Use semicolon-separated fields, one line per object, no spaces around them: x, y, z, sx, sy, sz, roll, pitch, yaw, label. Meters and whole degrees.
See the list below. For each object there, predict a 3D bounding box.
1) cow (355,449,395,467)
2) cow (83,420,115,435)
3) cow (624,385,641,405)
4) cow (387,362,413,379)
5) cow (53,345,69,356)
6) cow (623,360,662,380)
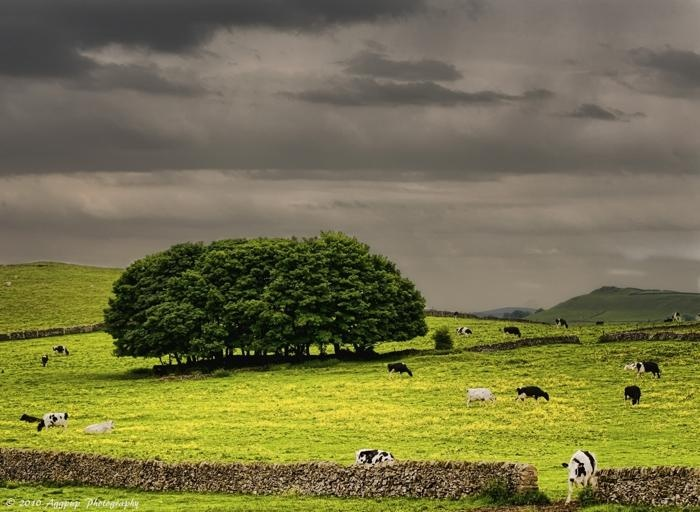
2.013;16.884;144.831;2.939;1.320;4.387;2;-7;-25;cow
-22.468;15.636;155.913;3.101;1.166;0.998;-5;8;-9;cow
26.263;13.039;161.199;1.221;1.792;1.860;1;-7;-23;cow
5.256;11.767;178.067;2.221;1.599;4.204;0;-7;-17;cow
-31.898;10.652;193.898;1.644;1.193;2.193;0;-7;-17;cow
29.276;11.292;171.324;4.705;2.305;1.239;2;-10;15;cow
